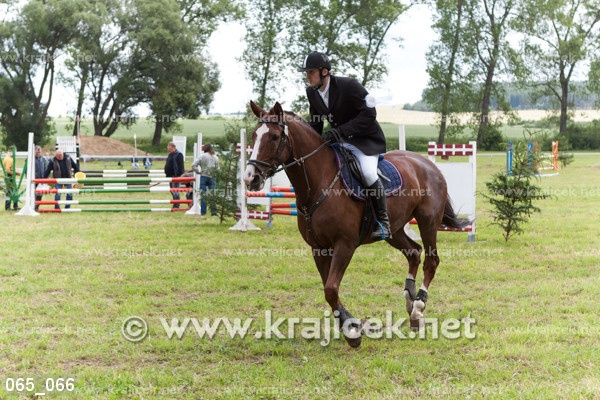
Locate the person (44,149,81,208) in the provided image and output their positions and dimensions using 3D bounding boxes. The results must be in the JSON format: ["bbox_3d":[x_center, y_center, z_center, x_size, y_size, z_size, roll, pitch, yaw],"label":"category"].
[{"bbox_3d":[-9.299,-0.878,28.309,0.940,2.455,1.227,0,1,-42],"label":"person"}]

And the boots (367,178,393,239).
[{"bbox_3d":[2.039,0.224,19.162,0.628,1.475,0.749,0,-1,1],"label":"boots"}]

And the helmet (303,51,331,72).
[{"bbox_3d":[0.447,-3.605,18.788,0.632,0.393,0.456,-2,4,-24],"label":"helmet"}]

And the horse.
[{"bbox_3d":[1.874,0.684,19.972,7.973,6.035,1.979,-1,-3,-37],"label":"horse"}]

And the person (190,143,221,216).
[{"bbox_3d":[-3.354,-0.781,26.430,0.846,2.522,1.239,0,0,40],"label":"person"}]
